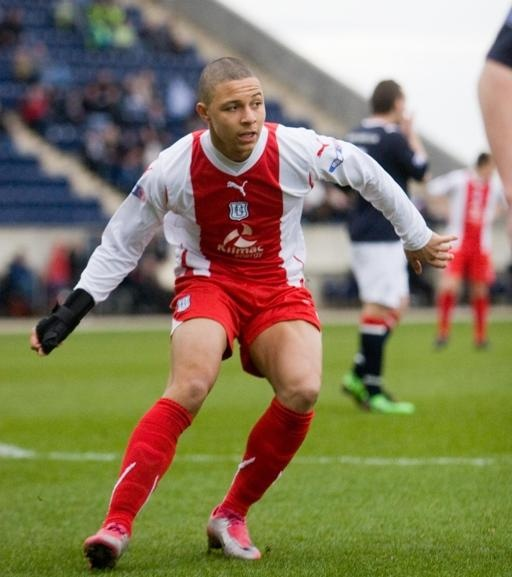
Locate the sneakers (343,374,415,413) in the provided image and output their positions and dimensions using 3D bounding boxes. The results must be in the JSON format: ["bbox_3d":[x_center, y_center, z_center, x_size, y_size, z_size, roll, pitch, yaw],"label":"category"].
[{"bbox_3d":[0.577,0.541,4.340,0.335,0.122,0.105,11,15,43],"label":"sneakers"}]

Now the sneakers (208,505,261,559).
[{"bbox_3d":[-0.066,0.766,2.800,0.113,0.116,0.302,6,5,-26],"label":"sneakers"}]

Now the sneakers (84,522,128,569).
[{"bbox_3d":[-0.422,0.730,2.468,0.123,0.131,0.107,-4,0,-1],"label":"sneakers"}]

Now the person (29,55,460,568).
[{"bbox_3d":[-0.067,0.048,2.858,1.228,1.585,0.500,-4,0,-26],"label":"person"}]
